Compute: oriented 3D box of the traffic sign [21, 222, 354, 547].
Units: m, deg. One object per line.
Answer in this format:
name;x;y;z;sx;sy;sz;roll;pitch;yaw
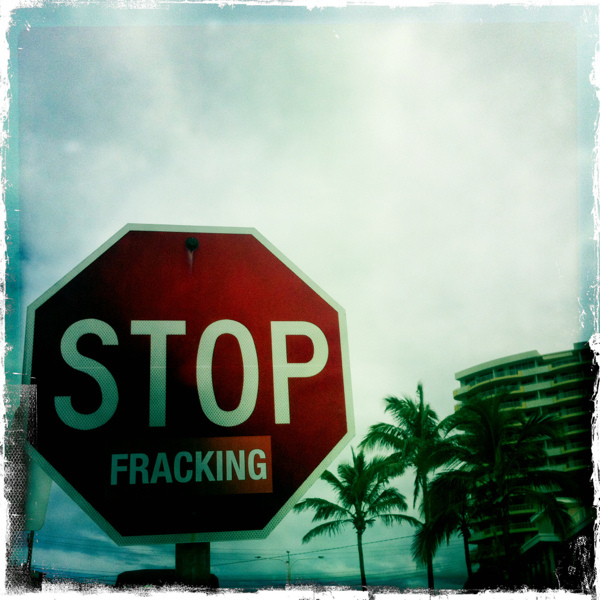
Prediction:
traffic sign;-0.679;0.558;4.769;1.665;1.783;0.183;2;-20;-9
